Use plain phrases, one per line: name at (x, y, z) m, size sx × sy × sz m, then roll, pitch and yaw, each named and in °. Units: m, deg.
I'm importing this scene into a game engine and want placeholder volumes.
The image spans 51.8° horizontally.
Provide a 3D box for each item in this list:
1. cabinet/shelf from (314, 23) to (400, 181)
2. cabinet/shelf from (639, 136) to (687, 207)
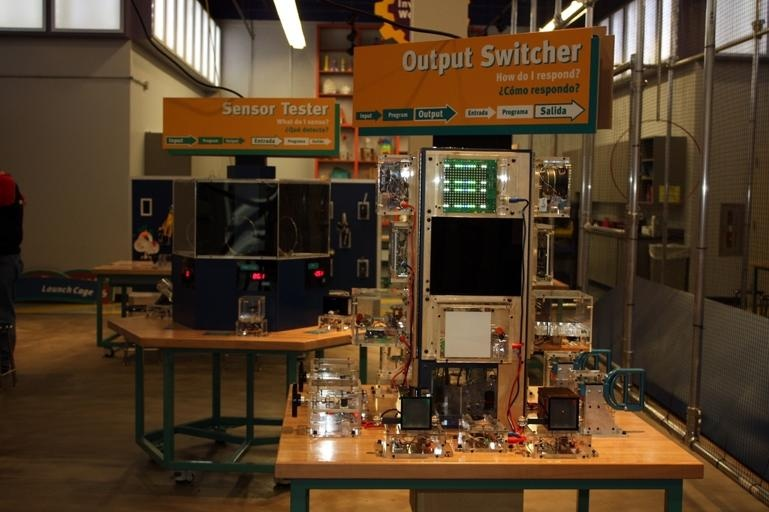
cabinet/shelf at (-0.652, -2.851, 14.614) m, size 1.063 × 2.892 × 1.622 m, roll -2°, pitch 4°, yaw -43°
cabinet/shelf at (3.055, -0.899, 8.606) m, size 0.236 × 0.733 × 0.769 m, roll 0°, pitch -3°, yaw 8°
